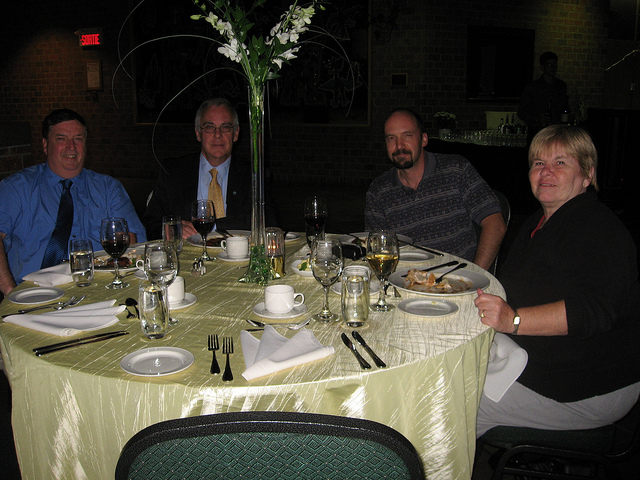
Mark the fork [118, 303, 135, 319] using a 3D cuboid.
[{"bbox_3d":[-0.652,0.230,1.619,0.031,0.013,0.104,-15,31,-43],"label":"fork"}]

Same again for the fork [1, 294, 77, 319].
[{"bbox_3d":[-0.947,0.226,1.613,0.223,0.036,0.030,-4,30,-28],"label":"fork"}]

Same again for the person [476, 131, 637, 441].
[{"bbox_3d":[0.870,0.140,1.749,0.480,1.120,0.815,2,7,29],"label":"person"}]

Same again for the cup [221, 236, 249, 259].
[{"bbox_3d":[-0.404,0.034,2.218,0.106,0.082,0.082,-3,8,-12],"label":"cup"}]

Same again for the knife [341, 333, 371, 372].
[{"bbox_3d":[0.094,0.306,1.315,0.025,0.009,0.182,-5,16,-10],"label":"knife"}]

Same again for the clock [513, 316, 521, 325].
[{"bbox_3d":[0.644,0.263,1.572,0.025,0.026,0.046,0,-3,15],"label":"clock"}]

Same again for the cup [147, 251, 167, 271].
[{"bbox_3d":[-0.513,0.064,1.529,0.058,0.062,0.057,-2,8,0],"label":"cup"}]

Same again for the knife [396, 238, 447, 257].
[{"bbox_3d":[0.501,0.038,2.357,0.039,0.022,0.362,-39,28,-21],"label":"knife"}]

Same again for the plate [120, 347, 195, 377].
[{"bbox_3d":[-0.434,0.324,1.277,0.181,0.040,0.143,-5,6,-25],"label":"plate"}]

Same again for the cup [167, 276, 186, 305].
[{"bbox_3d":[-0.498,0.178,1.656,0.075,0.060,0.058,1,3,38],"label":"cup"}]

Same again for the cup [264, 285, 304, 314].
[{"bbox_3d":[-0.128,0.193,1.602,0.112,0.079,0.087,0,4,-4],"label":"cup"}]

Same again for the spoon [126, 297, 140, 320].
[{"bbox_3d":[-0.639,0.233,1.638,0.036,0.021,0.125,-24,22,-18],"label":"spoon"}]
